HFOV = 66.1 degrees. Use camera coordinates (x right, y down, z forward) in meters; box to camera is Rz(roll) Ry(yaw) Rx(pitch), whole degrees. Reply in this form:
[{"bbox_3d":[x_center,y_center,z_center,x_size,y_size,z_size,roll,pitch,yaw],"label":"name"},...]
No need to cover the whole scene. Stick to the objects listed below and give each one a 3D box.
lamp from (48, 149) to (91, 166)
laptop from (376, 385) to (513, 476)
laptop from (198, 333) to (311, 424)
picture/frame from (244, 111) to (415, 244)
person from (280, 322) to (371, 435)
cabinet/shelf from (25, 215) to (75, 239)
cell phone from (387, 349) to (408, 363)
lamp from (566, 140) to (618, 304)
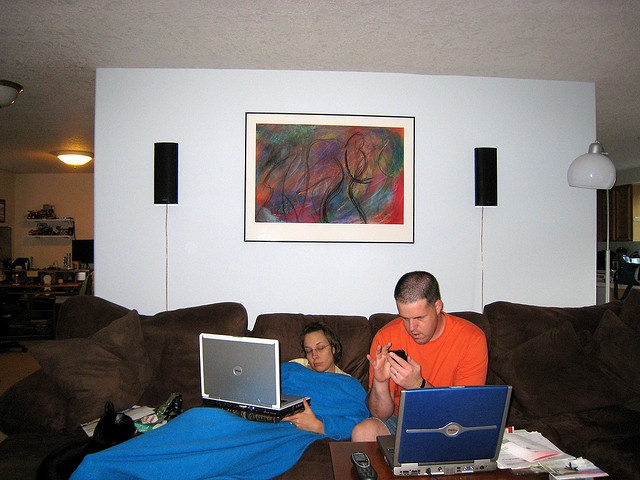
[{"bbox_3d":[-3.075,-1.059,6.162,0.386,0.180,0.478,0,0,-23],"label":"lamp"},{"bbox_3d":[0.594,0.849,2.298,0.499,0.422,0.431,1,1,-5],"label":"laptop"},{"bbox_3d":[-0.362,0.668,2.924,0.611,0.531,0.455,-2,2,28],"label":"laptop"},{"bbox_3d":[0.023,-0.458,3.829,1.003,0.752,0.016,0,1,-2],"label":"picture/frame"},{"bbox_3d":[-0.057,0.848,3.069,0.731,0.616,0.413,8,-2,20],"label":"person"},{"bbox_3d":[-4.189,-0.202,7.572,0.798,0.312,0.319,0,0,7],"label":"cabinet/shelf"},{"bbox_3d":[0.417,0.612,2.619,0.099,0.058,0.081,0,0,6],"label":"cell phone"},{"bbox_3d":[2.464,-0.061,4.441,0.305,1.384,2.406,0,0,30],"label":"lamp"}]
